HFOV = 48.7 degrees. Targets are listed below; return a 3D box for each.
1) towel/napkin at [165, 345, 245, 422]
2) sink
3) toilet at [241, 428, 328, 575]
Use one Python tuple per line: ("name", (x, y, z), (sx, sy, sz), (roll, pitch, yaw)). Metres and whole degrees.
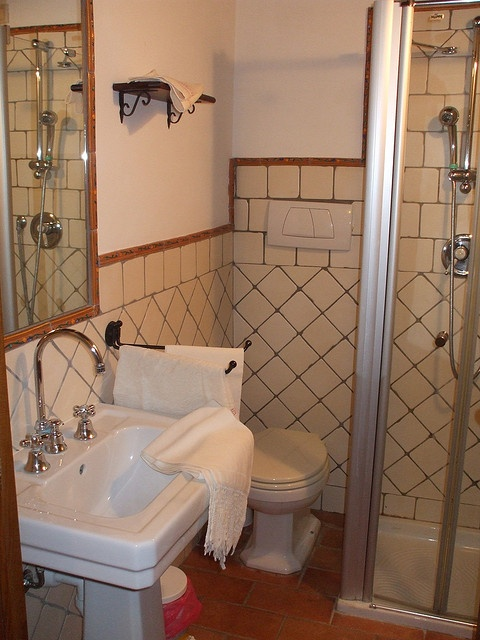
("towel/napkin", (-0.094, 0.165, 1.347), (0.191, 0.201, 0.023), (2, -12, 28))
("sink", (-0.237, 0.339, 0.996), (0.363, 0.087, 0.311), (1, 16, 22))
("toilet", (0.177, 0.711, 2.119), (0.336, 0.397, 0.462), (5, 12, 21))
